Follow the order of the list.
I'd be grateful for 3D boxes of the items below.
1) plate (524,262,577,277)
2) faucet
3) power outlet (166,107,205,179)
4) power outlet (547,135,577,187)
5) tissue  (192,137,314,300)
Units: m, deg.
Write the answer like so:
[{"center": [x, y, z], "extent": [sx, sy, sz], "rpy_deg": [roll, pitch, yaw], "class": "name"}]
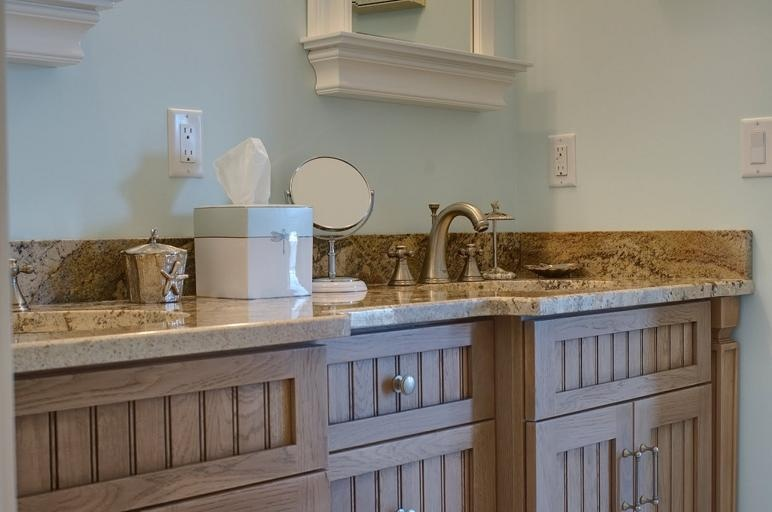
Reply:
[{"center": [0.556, 0.052, 2.186], "extent": [0.169, 0.044, 0.095], "rpy_deg": [-1, 3, 12], "class": "plate"}, {"center": [0.217, -0.050, 1.971], "extent": [0.180, 0.270, 0.172], "rpy_deg": [-4, 8, -34], "class": "faucet"}, {"center": [-0.543, -0.301, 1.758], "extent": [0.078, 0.190, 0.061], "rpy_deg": [-2, 7, -43], "class": "power outlet"}, {"center": [0.623, -0.337, 2.285], "extent": [0.022, 0.183, 0.095], "rpy_deg": [-5, 5, -45], "class": "power outlet"}, {"center": [-0.330, -0.071, 1.668], "extent": [0.250, 0.450, 0.249], "rpy_deg": [-2, 8, -38], "class": "tissue "}]
